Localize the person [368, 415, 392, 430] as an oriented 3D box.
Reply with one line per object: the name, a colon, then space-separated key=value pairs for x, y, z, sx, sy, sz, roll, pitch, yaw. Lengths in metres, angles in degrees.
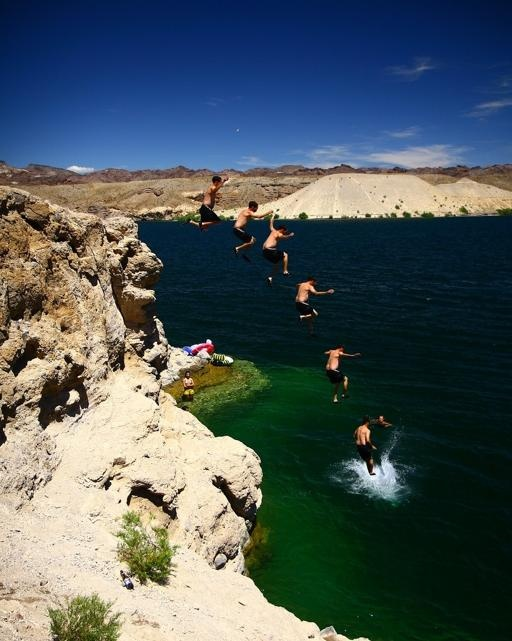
person: x=4.973 y=4.129 z=21.125 sx=0.952 sy=0.428 sz=1.598 roll=-1 pitch=-7 yaw=20
